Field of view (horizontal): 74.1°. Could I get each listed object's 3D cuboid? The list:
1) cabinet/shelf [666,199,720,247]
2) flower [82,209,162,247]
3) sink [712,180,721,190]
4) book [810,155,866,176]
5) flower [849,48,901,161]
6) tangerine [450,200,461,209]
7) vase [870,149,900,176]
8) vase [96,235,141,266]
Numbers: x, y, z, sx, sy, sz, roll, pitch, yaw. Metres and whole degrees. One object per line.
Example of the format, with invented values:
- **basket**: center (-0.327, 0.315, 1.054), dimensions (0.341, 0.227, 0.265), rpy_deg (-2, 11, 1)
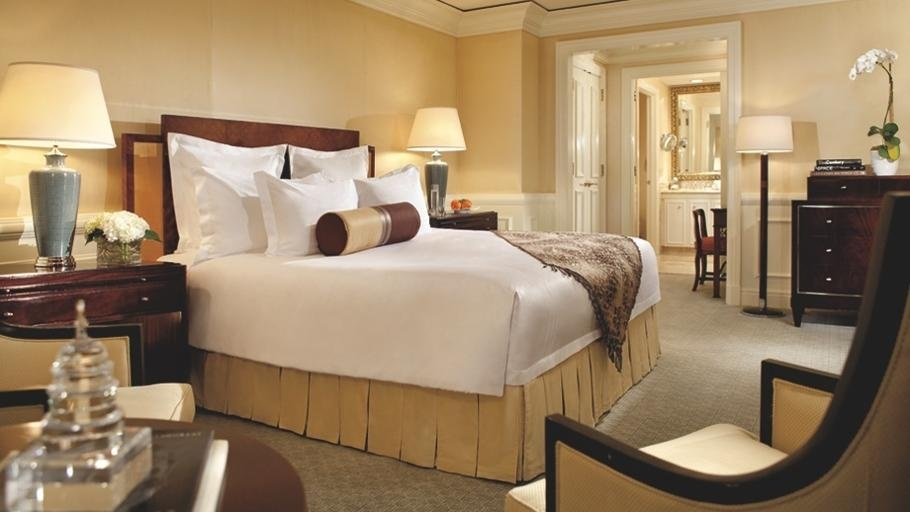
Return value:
- **cabinet/shelf**: center (3.660, -0.519, 9.216), dimensions (0.950, 0.866, 0.496), rpy_deg (0, -1, 37)
- **flower**: center (-2.252, -0.177, 3.993), dimensions (0.299, 0.145, 0.327), rpy_deg (4, 2, 25)
- **sink**: center (4.381, -1.169, 10.093), dimensions (0.106, 0.159, 0.309), rpy_deg (1, 9, 15)
- **book**: center (3.833, -0.878, 6.007), dimensions (0.342, 0.142, 0.377), rpy_deg (-8, 10, -36)
- **flower**: center (4.266, -1.541, 6.124), dimensions (0.469, 1.176, 0.598), rpy_deg (4, 11, 32)
- **tangerine**: center (0.004, -0.572, 6.786), dimensions (0.100, 0.067, 0.125), rpy_deg (6, 0, 14)
- **vase**: center (4.240, -0.897, 5.964), dimensions (0.307, 0.237, 0.262), rpy_deg (0, 3, 37)
- **vase**: center (-2.219, -0.021, 3.968), dimensions (0.224, 0.155, 0.215), rpy_deg (1, 2, -18)
